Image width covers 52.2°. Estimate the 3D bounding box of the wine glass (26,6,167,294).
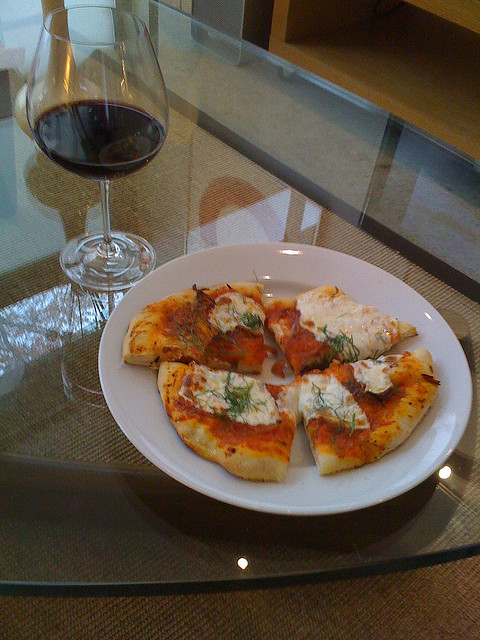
[{"bbox_3d":[-0.153,-0.182,0.666,0.146,0.395,0.170,-27,44,-33],"label":"wine glass"}]
